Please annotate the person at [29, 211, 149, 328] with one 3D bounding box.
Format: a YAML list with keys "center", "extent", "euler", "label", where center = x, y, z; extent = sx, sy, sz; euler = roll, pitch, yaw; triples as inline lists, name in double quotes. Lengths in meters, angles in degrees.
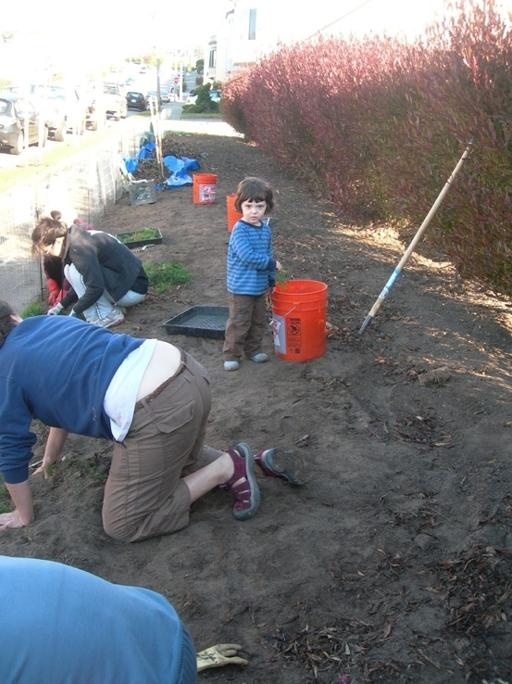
- center: [-1.256, -0.574, 4.471]
  extent: [0.983, 0.941, 0.682]
  euler: [4, 53, 1]
  label: "person"

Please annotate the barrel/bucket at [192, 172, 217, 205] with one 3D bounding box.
- center: [-0.854, -2.544, 9.555]
  extent: [0.394, 0.473, 0.563]
  euler: [-3, 22, -6]
  label: "barrel/bucket"

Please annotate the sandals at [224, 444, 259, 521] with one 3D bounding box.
- center: [-0.049, 0.616, 2.549]
  extent: [0.159, 0.305, 0.120]
  euler: [-11, 0, -18]
  label: "sandals"

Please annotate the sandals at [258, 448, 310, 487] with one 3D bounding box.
- center: [0.139, 0.595, 2.706]
  extent: [0.341, 0.109, 0.137]
  euler: [19, -5, 1]
  label: "sandals"
